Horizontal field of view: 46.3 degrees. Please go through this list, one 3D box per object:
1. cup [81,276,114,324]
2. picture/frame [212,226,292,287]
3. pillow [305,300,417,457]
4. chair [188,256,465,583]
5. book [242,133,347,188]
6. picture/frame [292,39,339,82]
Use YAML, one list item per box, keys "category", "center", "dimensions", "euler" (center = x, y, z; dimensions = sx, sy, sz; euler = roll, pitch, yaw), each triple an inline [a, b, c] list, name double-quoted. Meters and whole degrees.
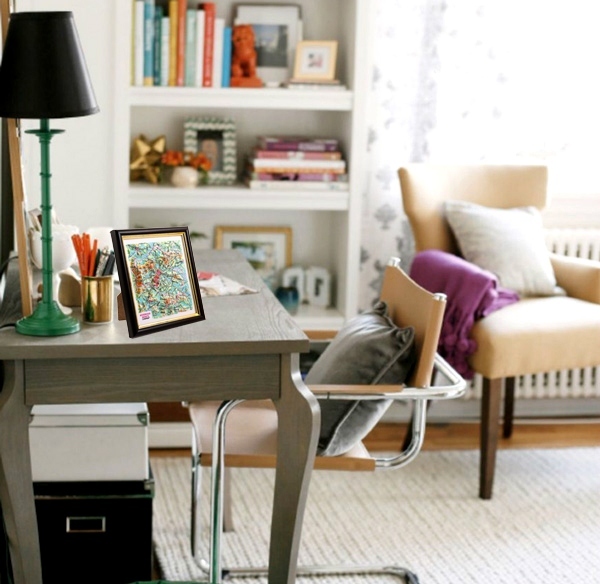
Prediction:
- category: "cup"
  center: [-0.385, 0.007, 1.333]
  dimensions: [0.060, 0.099, 0.056]
  euler: [6, 20, -2]
- category: "picture/frame"
  center: [-0.176, -0.138, 2.527]
  dimensions: [0.257, 0.291, 0.020]
  euler: [1, -2, -14]
- category: "pillow"
  center: [0.137, 0.201, 1.730]
  dimensions: [0.234, 0.297, 0.299]
  euler: [0, 11, -8]
- category: "chair"
  center: [0.009, 0.327, 1.955]
  dimensions: [0.744, 1.079, 0.703]
  euler: [3, 5, -4]
- category: "book"
  center: [-0.008, -0.503, 2.703]
  dimensions: [0.372, 0.185, 0.173]
  euler: [0, 11, -6]
- category: "picture/frame"
  center: [0.056, -0.874, 2.642]
  dimensions: [0.155, 0.013, 0.192]
  euler: [-2, -29, -6]
